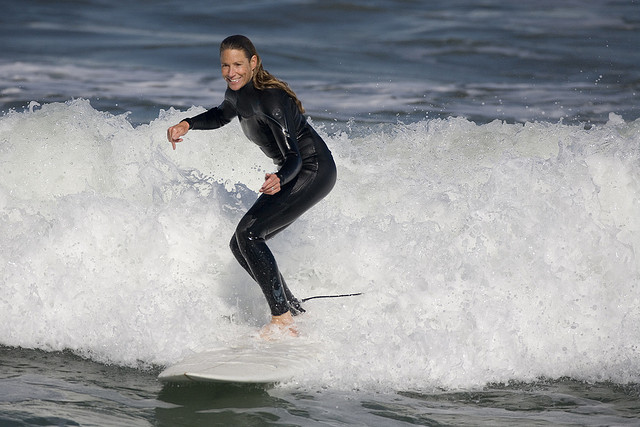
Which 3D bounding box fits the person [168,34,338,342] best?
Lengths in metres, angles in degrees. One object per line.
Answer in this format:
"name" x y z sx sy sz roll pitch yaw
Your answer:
"person" -0.630 -0.291 12.728 1.626 3.574 0.718 -4 -3 1
